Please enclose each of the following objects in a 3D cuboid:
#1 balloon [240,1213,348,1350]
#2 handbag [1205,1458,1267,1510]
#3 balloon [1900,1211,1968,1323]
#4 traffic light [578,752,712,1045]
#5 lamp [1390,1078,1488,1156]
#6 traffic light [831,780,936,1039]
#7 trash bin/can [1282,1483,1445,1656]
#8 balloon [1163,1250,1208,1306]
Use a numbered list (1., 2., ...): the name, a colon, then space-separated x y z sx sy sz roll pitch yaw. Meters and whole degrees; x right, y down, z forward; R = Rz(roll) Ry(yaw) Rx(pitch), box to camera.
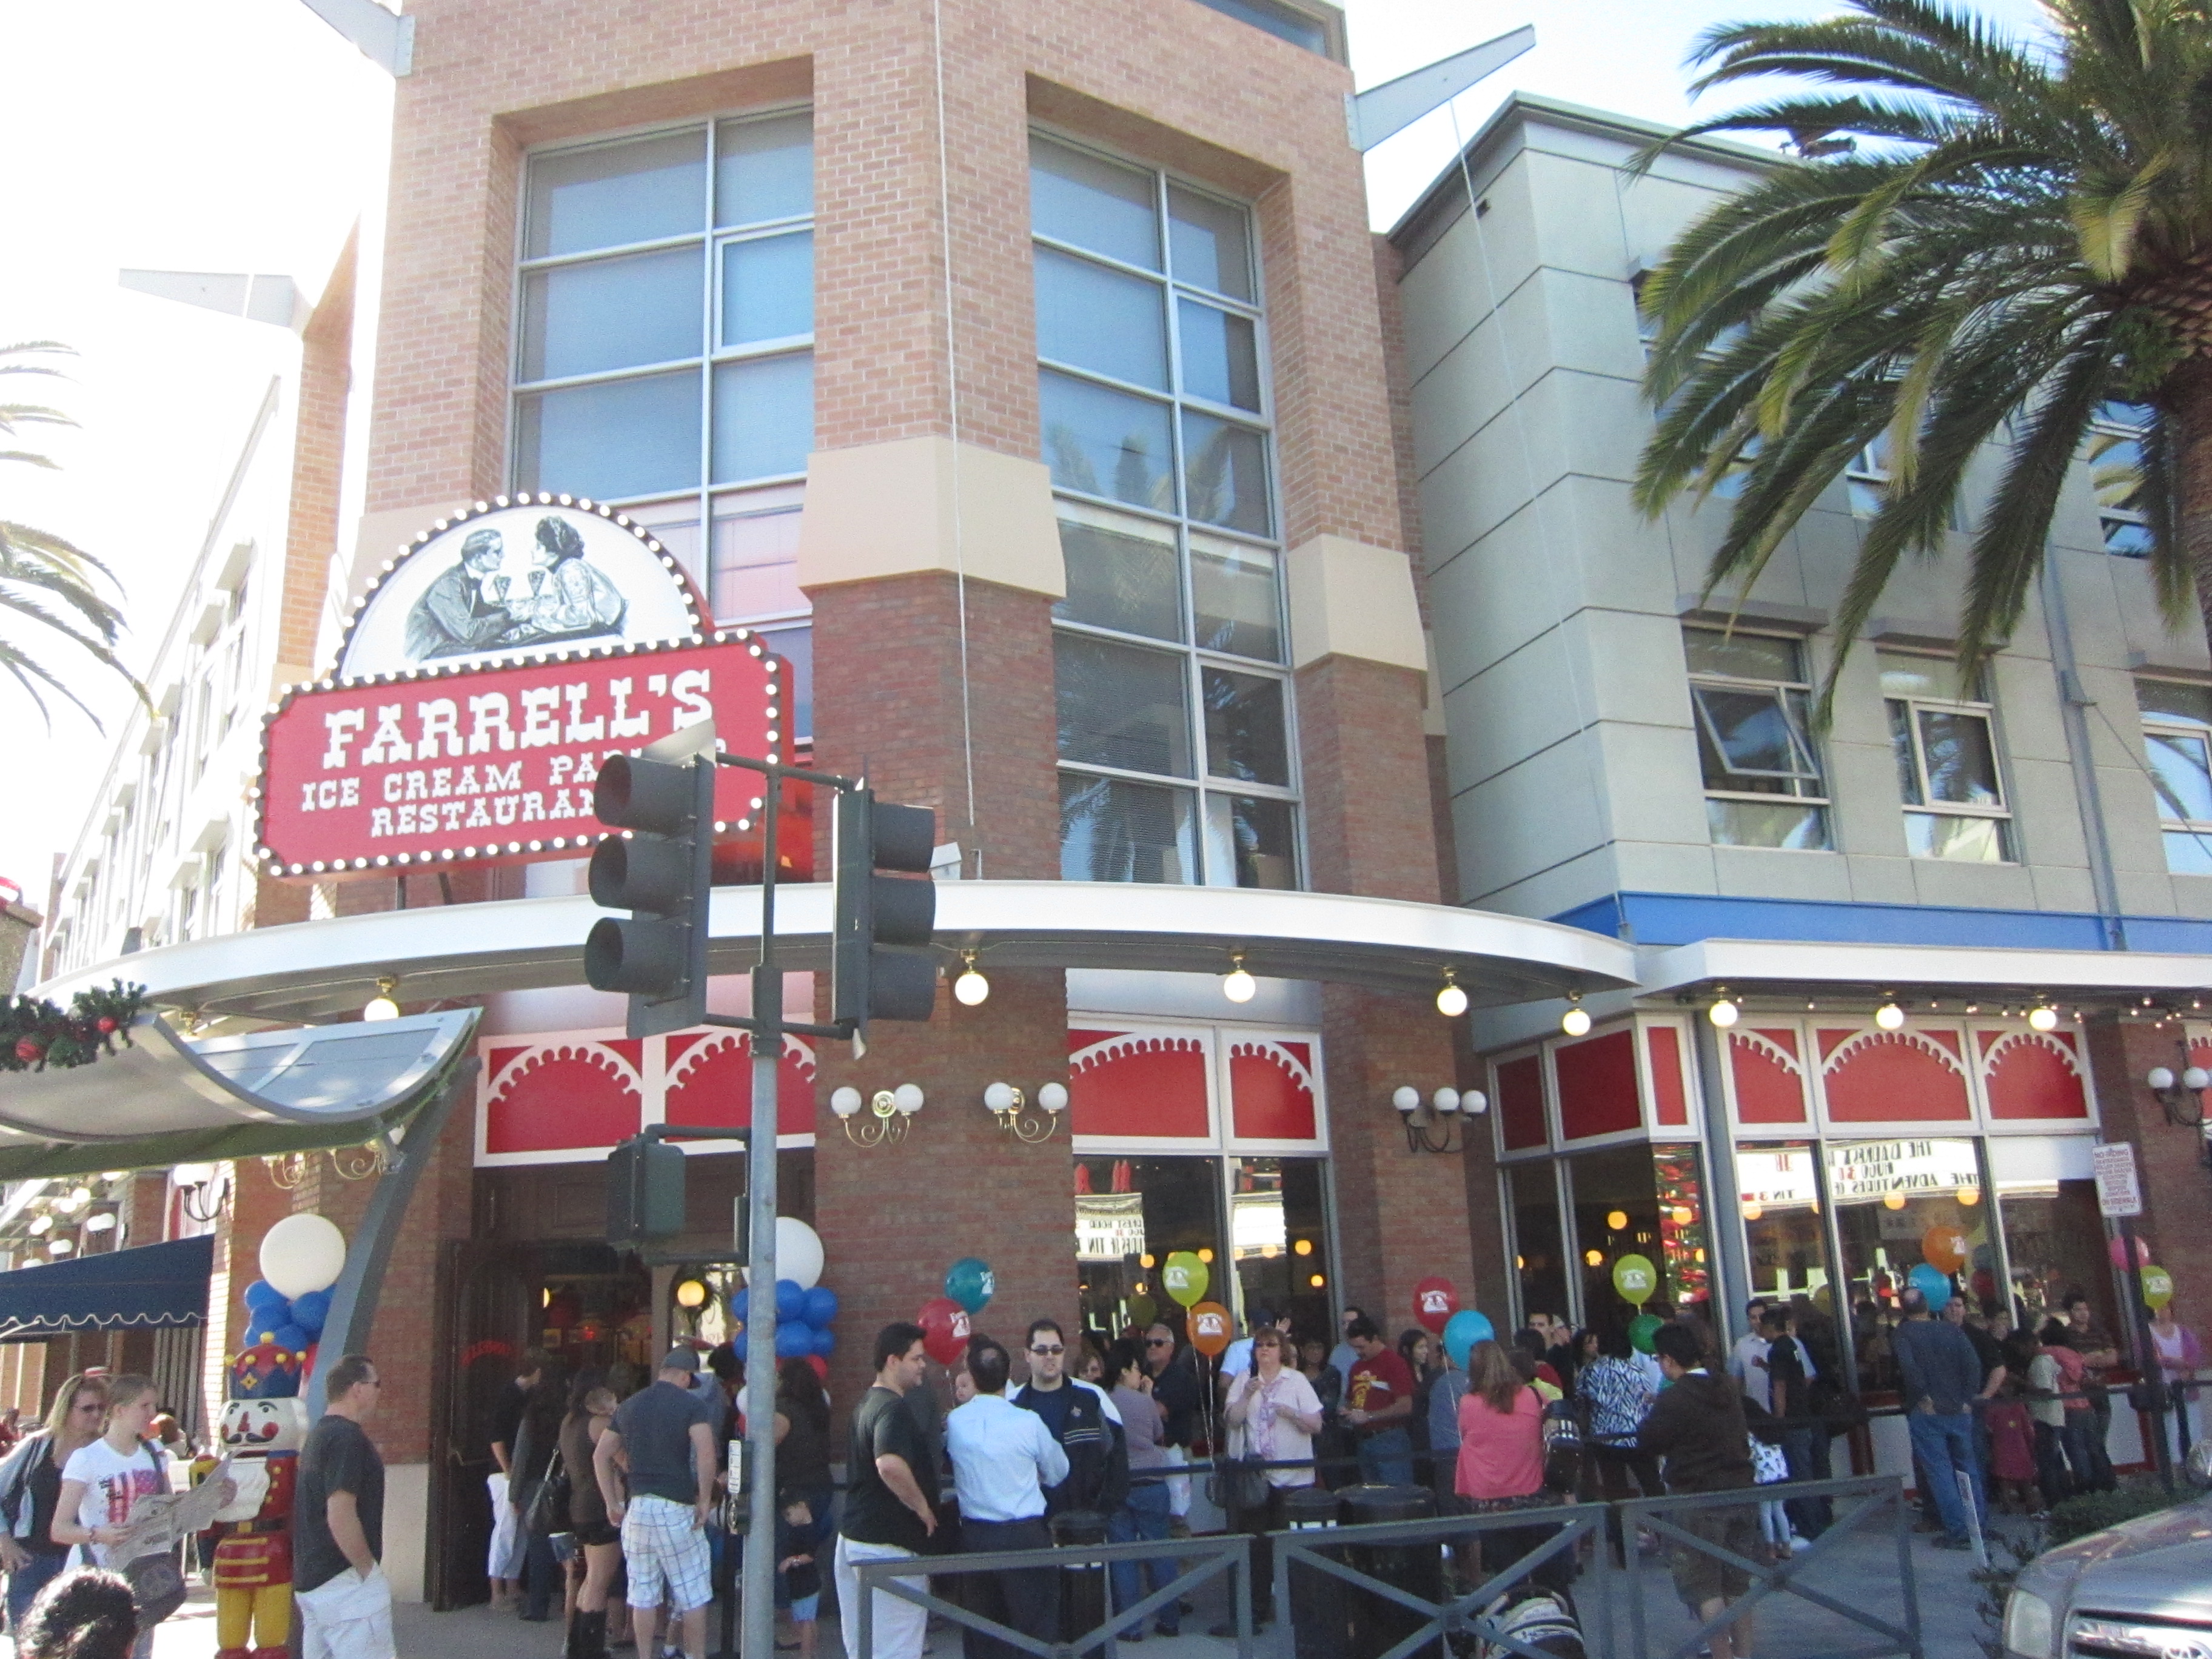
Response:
1. balloon: -6.921 3.771 15.161 0.571 1.175 0.789 11 -23 -39
2. handbag: 1.116 5.276 14.467 0.396 0.416 1.106 -5 -18 3
3. balloon: 8.842 4.574 18.918 0.682 1.208 0.487 18 -21 4
4. traffic light: -2.331 0.244 9.093 0.603 1.494 0.461 1 -18 -16
5. lamp: 3.503 3.031 19.001 0.961 0.543 0.351 12 -23 -42
6. traffic light: -1.195 0.395 9.502 0.517 1.272 0.419 0 -18 -11
7. trash bin/can: 1.649 4.669 11.203 0.963 0.888 2.369 -6 -18 7
8. balloon: 0.799 4.468 17.855 0.444 0.569 0.551 -4 -18 -1
